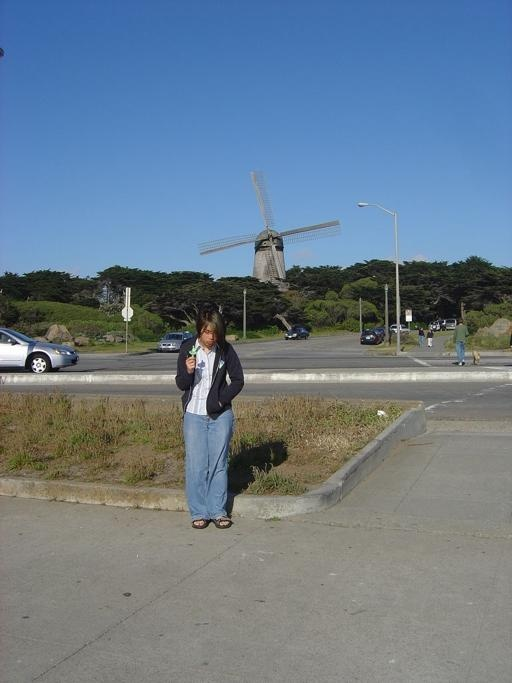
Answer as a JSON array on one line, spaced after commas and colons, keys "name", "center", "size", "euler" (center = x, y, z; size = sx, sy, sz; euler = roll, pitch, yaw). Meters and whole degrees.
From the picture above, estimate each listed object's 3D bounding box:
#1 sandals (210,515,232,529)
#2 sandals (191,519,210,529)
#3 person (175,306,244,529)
[{"name": "sandals", "center": [-0.278, 1.428, 5.010], "size": [0.185, 0.091, 0.212], "euler": [0, 1, -3]}, {"name": "sandals", "center": [-0.427, 1.437, 4.949], "size": [0.158, 0.069, 0.107], "euler": [-1, 1, -26]}, {"name": "person", "center": [-0.364, 0.603, 5.049], "size": [0.541, 1.741, 0.392], "euler": [-1, 1, -10]}]
